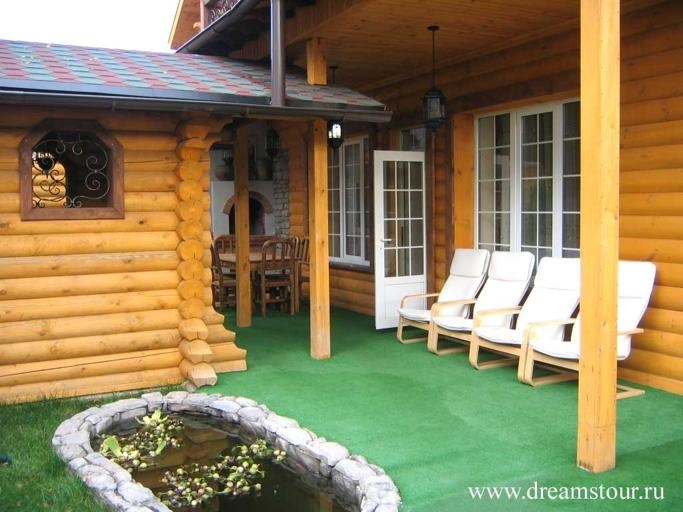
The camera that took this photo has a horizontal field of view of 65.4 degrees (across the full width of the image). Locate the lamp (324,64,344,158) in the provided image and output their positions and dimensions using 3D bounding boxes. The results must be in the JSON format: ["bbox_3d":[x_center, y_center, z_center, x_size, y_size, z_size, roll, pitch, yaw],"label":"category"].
[{"bbox_3d":[-0.093,-1.895,6.830,0.299,1.034,0.274,-20,28,-39],"label":"lamp"}]

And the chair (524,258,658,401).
[{"bbox_3d":[2.515,0.729,5.409,1.097,1.167,0.918,-4,3,-30],"label":"chair"}]

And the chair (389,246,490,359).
[{"bbox_3d":[1.342,0.570,7.134,1.148,1.192,0.959,-4,4,-17],"label":"chair"}]

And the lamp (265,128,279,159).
[{"bbox_3d":[-1.476,-2.423,11.400,0.269,0.630,0.578,-2,7,-7],"label":"lamp"}]

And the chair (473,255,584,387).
[{"bbox_3d":[2.086,0.657,5.912,1.120,1.125,1.074,-8,9,-40],"label":"chair"}]

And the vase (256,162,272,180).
[{"bbox_3d":[-1.913,-2.144,13.451,0.460,0.427,0.429,-1,4,-7],"label":"vase"}]

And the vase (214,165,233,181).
[{"bbox_3d":[-2.861,-2.008,12.976,0.413,0.258,0.395,4,6,27],"label":"vase"}]

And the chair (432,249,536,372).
[{"bbox_3d":[1.736,0.582,6.558,1.088,1.179,0.902,-6,7,-24],"label":"chair"}]
